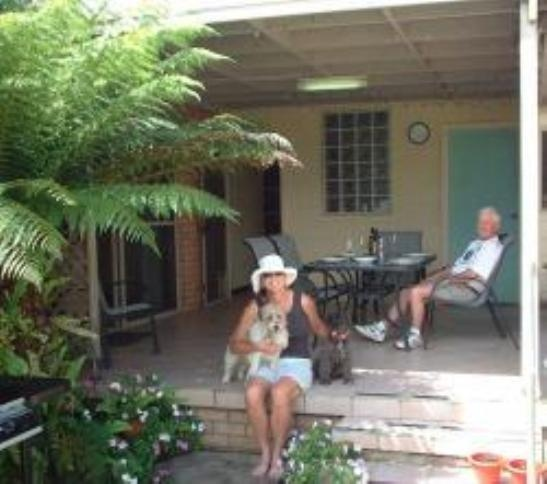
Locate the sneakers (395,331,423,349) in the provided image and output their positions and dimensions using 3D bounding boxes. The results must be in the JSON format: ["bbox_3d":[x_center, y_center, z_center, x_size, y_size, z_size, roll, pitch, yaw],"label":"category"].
[{"bbox_3d":[0.890,0.651,3.687,0.150,0.069,0.096,-1,21,15],"label":"sneakers"}]

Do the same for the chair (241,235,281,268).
[{"bbox_3d":[-0.123,0.082,4.104,0.173,0.321,0.223,-14,-4,-38],"label":"chair"}]

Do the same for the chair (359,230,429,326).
[{"bbox_3d":[0.735,0.227,3.843,0.495,0.768,0.524,1,2,16],"label":"chair"}]

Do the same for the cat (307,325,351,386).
[{"bbox_3d":[0.330,0.691,3.210,0.171,0.448,0.288,-1,-2,-5],"label":"cat"}]

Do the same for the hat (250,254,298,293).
[{"bbox_3d":[-0.012,0.205,3.313,0.224,0.131,0.249,-7,-34,-7],"label":"hat"}]
